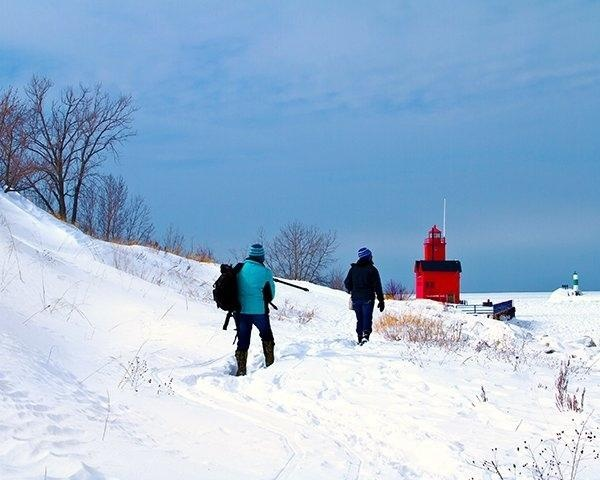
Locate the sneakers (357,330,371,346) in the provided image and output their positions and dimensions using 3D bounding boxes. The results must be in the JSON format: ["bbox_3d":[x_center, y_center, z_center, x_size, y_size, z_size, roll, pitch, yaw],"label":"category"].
[{"bbox_3d":[1.292,1.968,14.897,0.255,0.255,0.489,1,7,6],"label":"sneakers"}]

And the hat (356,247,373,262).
[{"bbox_3d":[1.155,0.268,13.078,0.228,0.242,0.181,-26,5,-34],"label":"hat"}]

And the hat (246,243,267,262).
[{"bbox_3d":[-0.673,0.200,11.253,0.261,0.359,0.339,1,0,17],"label":"hat"}]

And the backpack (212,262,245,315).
[{"bbox_3d":[-1.253,0.816,12.512,0.414,0.935,0.695,2,7,14],"label":"backpack"}]

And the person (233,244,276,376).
[{"bbox_3d":[-0.802,1.203,12.745,0.586,2.329,0.796,6,9,41],"label":"person"}]

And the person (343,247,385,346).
[{"bbox_3d":[1.311,1.143,15.185,0.788,2.086,1.012,1,7,3],"label":"person"}]
